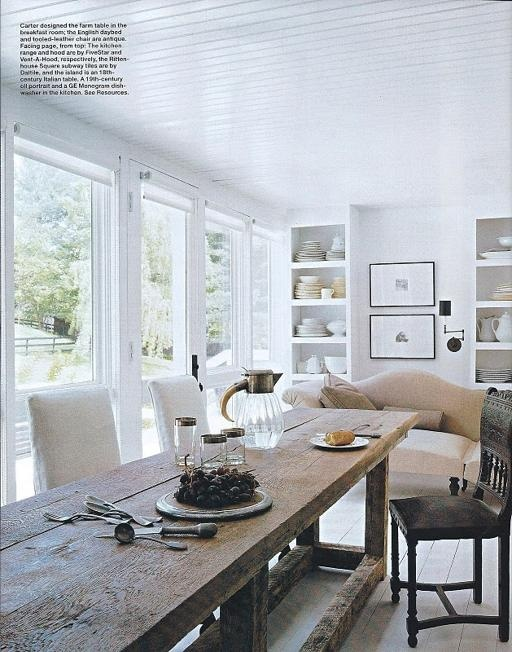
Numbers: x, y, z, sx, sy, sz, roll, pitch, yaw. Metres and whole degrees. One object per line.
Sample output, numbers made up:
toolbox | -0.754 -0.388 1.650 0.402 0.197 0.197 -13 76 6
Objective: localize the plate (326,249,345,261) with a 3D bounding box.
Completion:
plate | 0.902 -0.809 6.230 0.251 0.091 0.060 -2 2 38

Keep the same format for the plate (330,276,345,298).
plate | 0.946 -0.445 6.151 0.194 0.216 0.206 0 -7 -1

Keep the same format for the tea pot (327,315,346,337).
tea pot | 0.923 0.030 6.186 0.235 0.141 0.124 -3 1 16

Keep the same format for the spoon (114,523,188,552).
spoon | -0.213 0.394 1.059 0.164 0.040 0.053 3 -1 15

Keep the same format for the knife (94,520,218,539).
knife | -0.203 0.408 1.090 0.202 0.028 0.040 -1 -4 1

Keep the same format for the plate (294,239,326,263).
plate | 0.615 -0.867 6.400 0.277 0.204 0.460 -4 1 -33

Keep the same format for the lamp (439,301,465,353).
lamp | 2.135 0.006 5.913 0.271 0.581 0.340 -3 1 20

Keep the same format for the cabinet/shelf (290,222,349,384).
cabinet/shelf | 0.741 -0.268 6.385 0.642 2.045 0.298 -1 -37 5

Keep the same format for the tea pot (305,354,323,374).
tea pot | 0.667 0.452 6.366 0.173 0.211 0.222 -1 -7 13

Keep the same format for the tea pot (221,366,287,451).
tea pot | 0.018 0.286 1.981 0.319 0.297 0.188 -2 4 -12

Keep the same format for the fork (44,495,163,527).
fork | -0.328 0.381 1.188 0.310 0.031 0.093 -3 -2 40

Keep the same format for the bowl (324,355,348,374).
bowl | 0.915 0.436 6.128 0.204 0.120 0.196 0 -6 0

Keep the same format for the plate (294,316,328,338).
plate | 0.652 0.021 6.394 0.407 0.169 0.354 -3 1 5

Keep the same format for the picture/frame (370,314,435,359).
picture/frame | 1.711 0.118 6.186 0.554 0.370 0.019 -1 0 19

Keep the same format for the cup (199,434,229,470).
cup | -0.116 0.347 1.522 0.108 0.111 0.103 0 1 0

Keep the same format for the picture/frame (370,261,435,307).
picture/frame | 1.713 -0.480 6.192 0.567 0.386 0.019 1 2 22

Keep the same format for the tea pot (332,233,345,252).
tea pot | 0.945 -0.954 6.230 0.190 0.194 0.183 1 -7 0

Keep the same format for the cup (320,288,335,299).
cup | 0.820 -0.379 6.228 0.157 0.102 0.094 2 -4 -27
